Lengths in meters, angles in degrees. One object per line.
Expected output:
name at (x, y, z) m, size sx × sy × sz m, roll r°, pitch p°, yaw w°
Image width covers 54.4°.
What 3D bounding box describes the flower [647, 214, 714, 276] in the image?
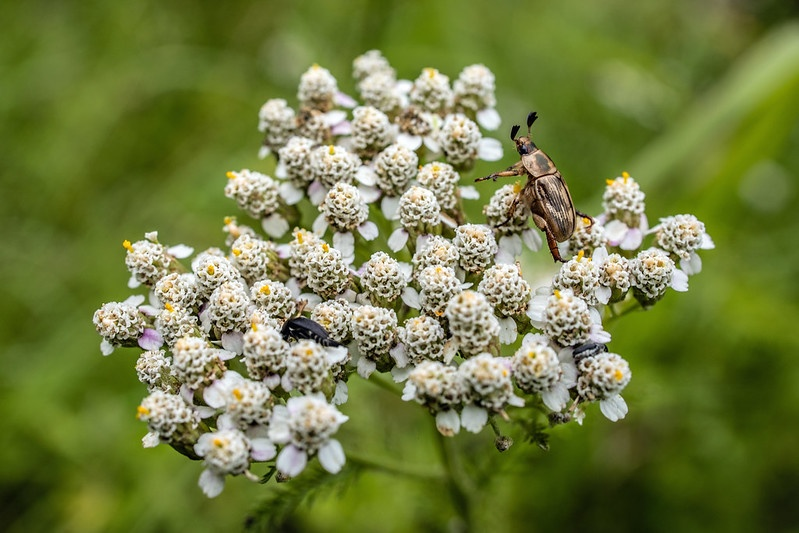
flower at (2.895, -0.313, 7.926) m, size 0.418 × 0.209 × 0.431 m, roll 14°, pitch 29°, yaw 26°
